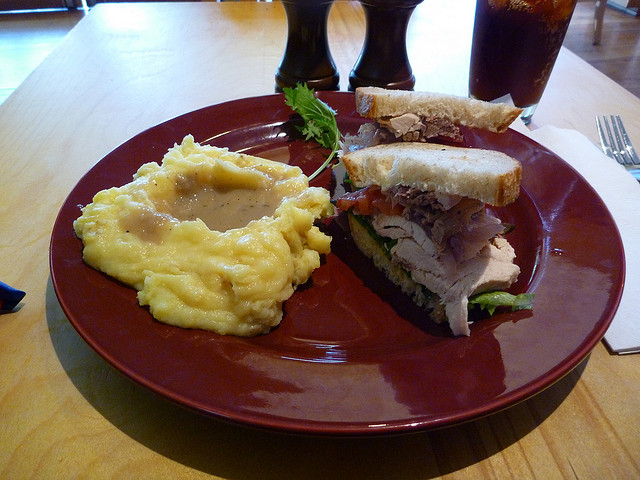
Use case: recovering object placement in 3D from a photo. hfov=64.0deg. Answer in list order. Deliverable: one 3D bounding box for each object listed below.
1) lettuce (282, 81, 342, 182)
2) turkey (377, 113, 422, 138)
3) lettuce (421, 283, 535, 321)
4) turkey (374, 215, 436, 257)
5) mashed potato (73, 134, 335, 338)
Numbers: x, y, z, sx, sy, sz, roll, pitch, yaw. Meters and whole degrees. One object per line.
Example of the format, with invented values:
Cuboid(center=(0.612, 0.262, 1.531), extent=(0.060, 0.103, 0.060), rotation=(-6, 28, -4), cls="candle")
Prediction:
Cuboid(center=(-0.035, -0.646, 3.042), extent=(0.350, 0.573, 0.406), rotation=(-22, 32, -35), cls="lettuce")
Cuboid(center=(0.434, -0.598, 2.607), extent=(0.156, 0.056, 0.124), rotation=(-19, 43, -14), cls="turkey")
Cuboid(center=(0.761, 0.256, 2.181), extent=(0.208, 0.067, 0.207), rotation=(0, 7, -32), cls="lettuce")
Cuboid(center=(0.415, -0.046, 2.402), extent=(0.303, 0.165, 0.433), rotation=(1, 16, 9), cls="turkey")
Cuboid(center=(-0.522, 0.004, 2.421), extent=(0.933, 0.274, 0.925), rotation=(28, 48, 15), cls="mashed potato")
